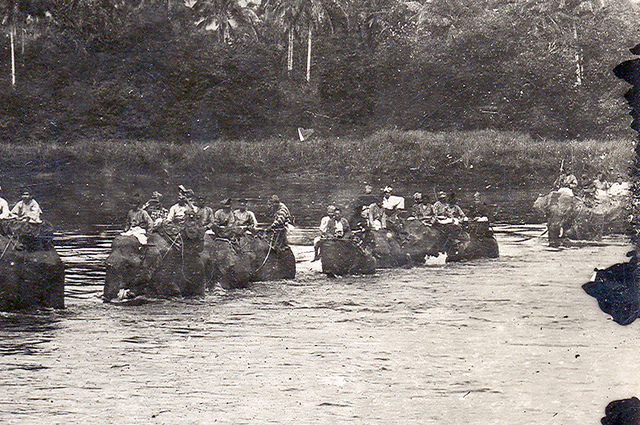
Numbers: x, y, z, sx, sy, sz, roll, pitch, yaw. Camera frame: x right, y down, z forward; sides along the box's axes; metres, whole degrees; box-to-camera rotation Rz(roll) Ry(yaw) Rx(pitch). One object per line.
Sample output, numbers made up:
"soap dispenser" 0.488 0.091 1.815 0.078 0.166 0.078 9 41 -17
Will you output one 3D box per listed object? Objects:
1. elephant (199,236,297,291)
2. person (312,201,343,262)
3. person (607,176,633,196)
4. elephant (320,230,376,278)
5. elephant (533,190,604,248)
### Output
"elephant" -1.592 0.937 28.608 2.226 0.855 0.630 -7 20 -29
"person" 0.129 0.486 29.494 0.622 1.097 0.953 -3 1 -19
"person" 7.736 -0.699 33.054 0.501 0.367 1.226 -2 0 12
"elephant" 0.401 0.912 29.866 1.775 1.141 1.013 -4 5 -30
"elephant" 6.375 0.120 32.370 2.127 0.992 1.153 5 -4 -22
